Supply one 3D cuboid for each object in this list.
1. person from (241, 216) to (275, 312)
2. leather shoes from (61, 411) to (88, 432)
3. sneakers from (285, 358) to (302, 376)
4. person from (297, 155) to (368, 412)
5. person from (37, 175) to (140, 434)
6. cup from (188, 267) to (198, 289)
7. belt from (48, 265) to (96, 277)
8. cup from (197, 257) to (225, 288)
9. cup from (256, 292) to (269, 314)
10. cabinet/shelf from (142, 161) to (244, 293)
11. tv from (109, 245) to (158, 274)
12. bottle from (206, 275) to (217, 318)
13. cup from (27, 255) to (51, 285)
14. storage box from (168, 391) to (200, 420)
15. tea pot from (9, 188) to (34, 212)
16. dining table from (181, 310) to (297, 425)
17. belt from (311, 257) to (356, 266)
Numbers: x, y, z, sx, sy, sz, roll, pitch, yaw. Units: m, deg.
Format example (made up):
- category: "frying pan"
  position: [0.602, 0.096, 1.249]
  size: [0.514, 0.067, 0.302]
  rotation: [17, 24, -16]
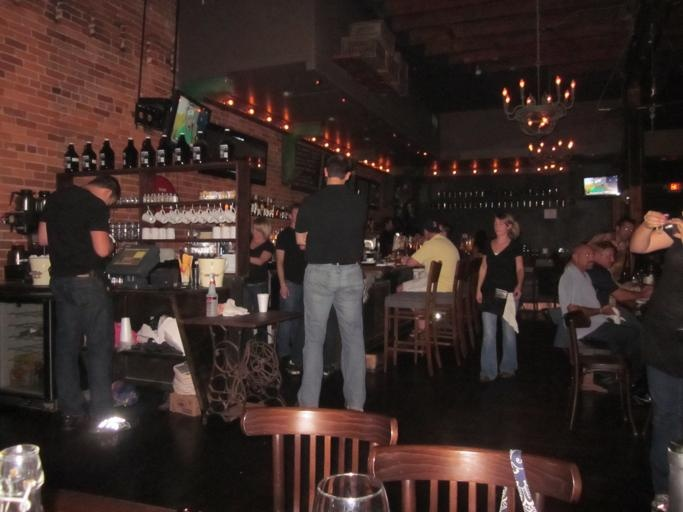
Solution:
- category: "person"
  position: [-0.980, 0.090, 6.935]
  size: [0.322, 1.066, 0.464]
  rotation: [0, -1, -20]
- category: "leather shoes"
  position: [-2.238, 1.389, 4.916]
  size: [0.119, 0.125, 0.155]
  rotation: [11, -12, -36]
- category: "sneakers"
  position: [-0.530, 1.207, 6.413]
  size: [0.118, 0.141, 0.151]
  rotation: [13, 9, -33]
- category: "person"
  position: [-0.095, 0.200, 4.920]
  size: [0.584, 2.116, 0.325]
  rotation: [0, -1, 1]
- category: "person"
  position: [-2.219, 0.414, 5.002]
  size: [0.608, 2.021, 0.277]
  rotation: [0, -1, 12]
- category: "cup"
  position: [-1.394, 0.199, 5.549]
  size: [0.086, 0.185, 0.267]
  rotation: [0, -1, -15]
- category: "belt"
  position: [-2.289, 0.137, 4.971]
  size: [0.389, 0.084, 0.098]
  rotation: [0, -1, 10]
- category: "cup"
  position: [-1.199, 0.150, 5.353]
  size: [0.215, 0.224, 0.271]
  rotation: [1, 6, 4]
- category: "cup"
  position: [-0.746, 0.429, 5.359]
  size: [0.143, 0.180, 0.144]
  rotation: [1, -2, 0]
- category: "cabinet/shelf"
  position: [-1.582, -0.277, 6.154]
  size: [1.518, 1.484, 0.417]
  rotation: [1, -3, 16]
- category: "tv"
  position: [-1.903, 0.040, 5.416]
  size: [0.356, 0.260, 0.268]
  rotation: [-1, 2, 21]
- category: "bottle"
  position: [-1.137, 0.338, 5.158]
  size: [0.092, 0.360, 0.204]
  rotation: [0, -1, -12]
- category: "cup"
  position: [-2.725, 0.122, 5.433]
  size: [0.261, 0.289, 0.257]
  rotation: [1, 0, 0]
- category: "storage box"
  position: [-1.392, 1.314, 5.188]
  size: [0.295, 0.169, 0.195]
  rotation: [8, -9, 7]
- category: "tea pot"
  position: [-3.181, -0.540, 5.815]
  size: [0.148, 0.225, 0.392]
  rotation: [1, -2, -45]
- category: "dining table"
  position: [-0.852, 0.952, 5.276]
  size: [0.851, 0.918, 1.114]
  rotation: [0, -1, 14]
- category: "belt"
  position: [-0.056, 0.042, 4.896]
  size: [0.420, 0.050, 0.099]
  rotation: [0, -1, -9]
